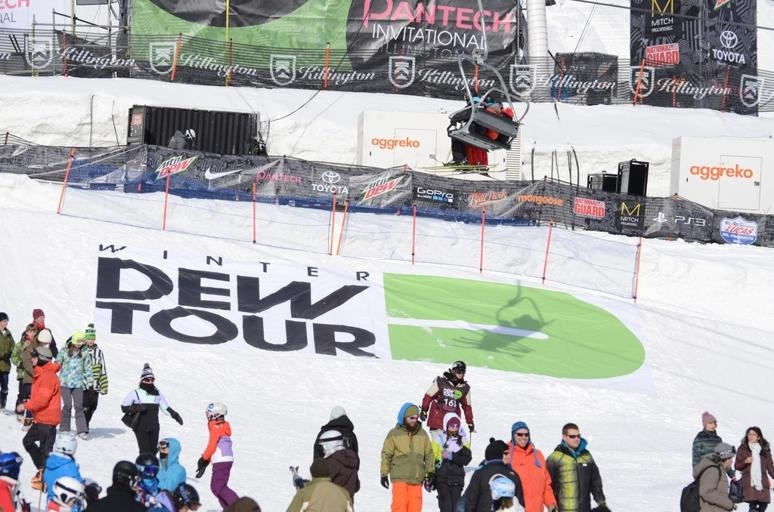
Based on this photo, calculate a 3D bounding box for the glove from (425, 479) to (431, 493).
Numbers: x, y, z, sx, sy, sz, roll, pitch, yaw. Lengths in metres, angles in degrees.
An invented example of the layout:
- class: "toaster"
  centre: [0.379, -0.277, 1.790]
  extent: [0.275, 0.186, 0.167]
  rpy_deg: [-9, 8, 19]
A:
- class: "glove"
  centre: [1.351, 6.984, 48.566]
  extent: [0.164, 0.353, 0.278]
  rpy_deg: [-4, 2, -35]

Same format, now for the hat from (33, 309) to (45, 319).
- class: "hat"
  centre: [-11.656, 1.905, 53.363]
  extent: [0.450, 0.358, 0.341]
  rpy_deg: [-15, -13, 38]

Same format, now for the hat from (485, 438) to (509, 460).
- class: "hat"
  centre: [3.208, 5.728, 47.485]
  extent: [0.724, 0.713, 0.545]
  rpy_deg: [-2, 3, -8]

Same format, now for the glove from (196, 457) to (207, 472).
- class: "glove"
  centre: [-5.579, 6.295, 48.580]
  extent: [0.307, 0.426, 0.661]
  rpy_deg: [4, 2, -8]

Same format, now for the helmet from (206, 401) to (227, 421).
- class: "helmet"
  centre: [-5.196, 4.721, 48.579]
  extent: [0.628, 0.499, 0.467]
  rpy_deg: [4, 3, 22]

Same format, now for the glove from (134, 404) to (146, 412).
- class: "glove"
  centre: [-7.710, 4.722, 49.736]
  extent: [0.314, 0.242, 0.031]
  rpy_deg: [4, 3, -3]

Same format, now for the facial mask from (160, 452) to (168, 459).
- class: "facial mask"
  centre: [-6.646, 5.935, 47.645]
  extent: [0.257, 0.193, 0.058]
  rpy_deg: [4, 3, 14]

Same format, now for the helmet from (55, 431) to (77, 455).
- class: "helmet"
  centre: [-9.482, 5.508, 46.985]
  extent: [0.630, 0.639, 0.336]
  rpy_deg: [3, 3, -11]

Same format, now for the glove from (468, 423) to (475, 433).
- class: "glove"
  centre: [2.726, 5.484, 51.117]
  extent: [0.335, 0.396, 0.254]
  rpy_deg: [0, -3, -3]

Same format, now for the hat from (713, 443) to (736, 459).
- class: "hat"
  centre: [10.208, 5.941, 48.419]
  extent: [0.540, 0.161, 0.521]
  rpy_deg: [-9, -10, -31]

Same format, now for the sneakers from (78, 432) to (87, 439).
- class: "sneakers"
  centre: [-9.802, 5.776, 51.465]
  extent: [0.201, 0.217, 0.247]
  rpy_deg: [7, -33, -19]

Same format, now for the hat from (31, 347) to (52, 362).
- class: "hat"
  centre: [-10.722, 3.070, 49.878]
  extent: [0.571, 0.433, 0.462]
  rpy_deg: [19, 9, 27]

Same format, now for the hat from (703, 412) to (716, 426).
- class: "hat"
  centre: [10.149, 5.114, 50.386]
  extent: [0.458, 0.391, 0.340]
  rpy_deg: [-21, -4, 27]
